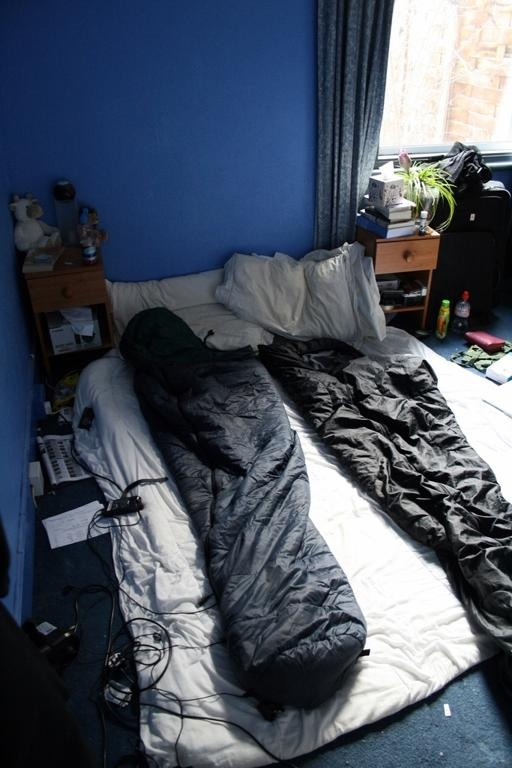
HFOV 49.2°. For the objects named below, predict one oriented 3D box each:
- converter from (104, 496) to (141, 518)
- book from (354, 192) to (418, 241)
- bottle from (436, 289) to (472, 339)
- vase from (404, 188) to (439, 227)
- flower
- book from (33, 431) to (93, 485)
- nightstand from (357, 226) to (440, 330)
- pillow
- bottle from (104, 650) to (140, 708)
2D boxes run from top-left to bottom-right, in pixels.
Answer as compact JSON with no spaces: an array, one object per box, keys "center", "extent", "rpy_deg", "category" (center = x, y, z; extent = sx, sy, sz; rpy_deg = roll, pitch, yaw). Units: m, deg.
[{"center":[-0.470,0.439,2.004],"extent":[0.133,0.041,0.068],"rpy_deg":[-19,46,9],"category":"converter"},{"center":[0.738,-0.904,3.049],"extent":[0.215,0.150,0.299],"rpy_deg":[-12,33,-12],"category":"book"},{"center":[1.149,-0.402,3.243],"extent":[0.189,0.275,0.097],"rpy_deg":[-22,34,-20],"category":"bottle"},{"center":[0.892,-0.989,3.117],"extent":[0.211,0.251,0.219],"rpy_deg":[2,22,11],"category":"vase"},{"center":[0.948,-1.078,3.180],"extent":[0.396,0.408,0.374],"rpy_deg":[7,26,25],"category":"flower"},{"center":[-0.817,0.312,2.321],"extent":[0.171,0.033,0.222],"rpy_deg":[-5,46,-33],"category":"book"},{"center":[0.788,-0.605,3.110],"extent":[0.357,0.720,0.398],"rpy_deg":[-8,36,-8],"category":"nightstand"},{"center":[-0.423,-0.388,2.958],"extent":[0.546,0.220,0.563],"rpy_deg":[-12,56,-12],"category":"pillow"},{"center":[-0.366,0.785,1.495],"extent":[0.066,0.026,0.111],"rpy_deg":[14,45,9],"category":"bottle"}]
